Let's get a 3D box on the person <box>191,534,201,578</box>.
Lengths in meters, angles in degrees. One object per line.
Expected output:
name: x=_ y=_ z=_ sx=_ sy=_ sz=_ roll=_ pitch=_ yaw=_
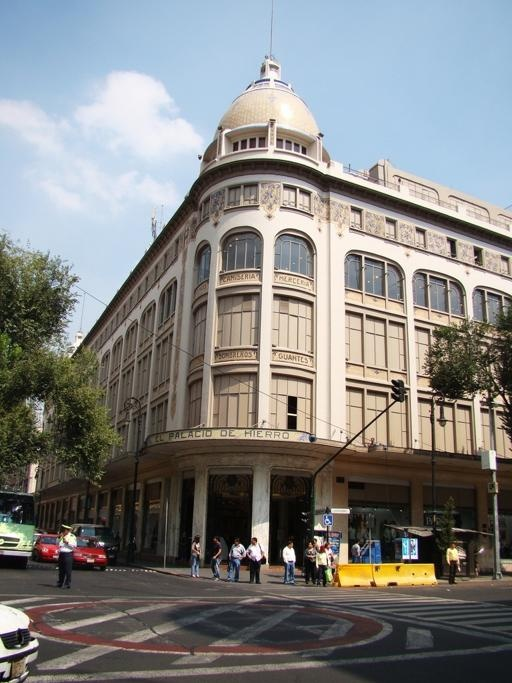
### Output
person: x=-2.669 y=9.644 z=24.458 sx=0.362 sy=1.692 sz=1.133 roll=4 pitch=-19 yaw=-7

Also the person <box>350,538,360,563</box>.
person: x=5.621 y=11.806 z=30.594 sx=0.519 sy=1.177 sz=2.304 roll=-1 pitch=-19 yaw=9

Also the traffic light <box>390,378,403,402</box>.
traffic light: x=5.322 y=1.840 z=20.363 sx=0.394 sy=0.918 sz=0.794 roll=-5 pitch=-20 yaw=19

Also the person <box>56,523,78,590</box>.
person: x=-5.118 y=5.775 z=14.625 sx=0.468 sy=1.529 sz=1.770 roll=8 pitch=-20 yaw=-16
